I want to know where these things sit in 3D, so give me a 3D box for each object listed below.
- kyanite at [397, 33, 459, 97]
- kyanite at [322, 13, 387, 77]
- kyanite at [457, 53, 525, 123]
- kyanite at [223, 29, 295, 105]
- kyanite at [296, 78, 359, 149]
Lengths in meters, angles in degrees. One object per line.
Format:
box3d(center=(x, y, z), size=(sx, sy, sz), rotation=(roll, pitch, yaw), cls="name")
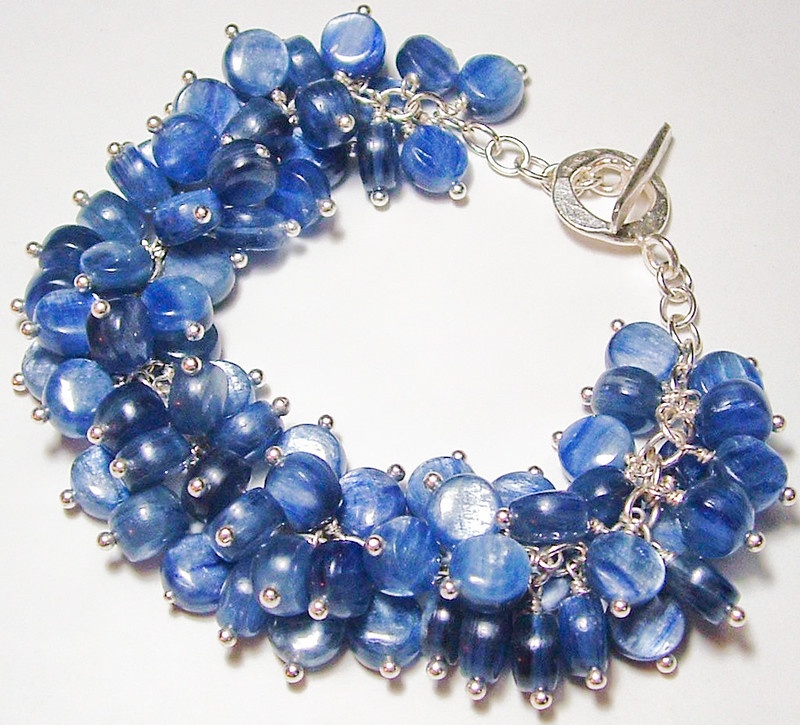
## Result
box3d(center=(0.071, -0.770, 2.643), size=(0.135, 0.167, 0.084), rotation=(-23, -12, -16), cls="kyanite")
box3d(center=(-0.121, -0.804, 2.608), size=(0.163, 0.080, 0.151), rotation=(12, -66, -7), cls="kyanite")
box3d(center=(0.244, -0.722, 2.706), size=(0.196, 0.221, 0.157), rotation=(-3, -38, 5), cls="kyanite")
box3d(center=(-0.363, -0.742, 2.561), size=(0.167, 0.076, 0.154), rotation=(-4, -66, 0), cls="kyanite")
box3d(center=(-0.178, -0.591, 2.498), size=(0.115, 0.124, 0.168), rotation=(-30, -93, 17), cls="kyanite")
